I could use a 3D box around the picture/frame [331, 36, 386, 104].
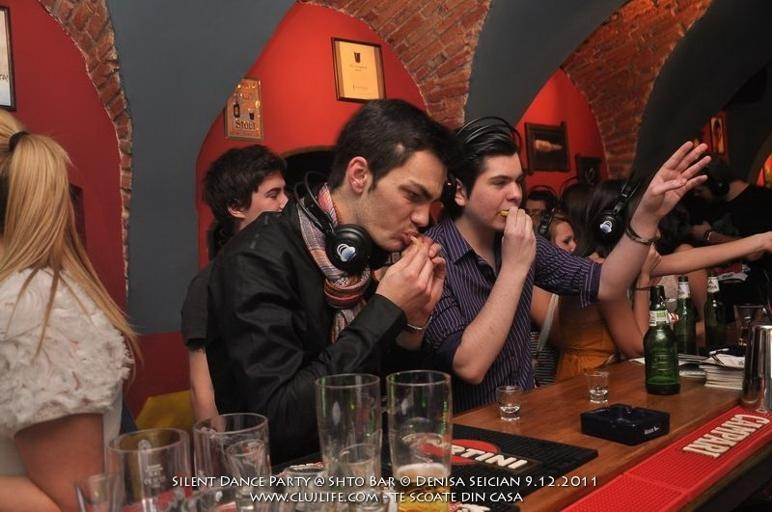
[{"bbox_3d":[-0.209,-1.554,4.726,0.497,0.507,0.155,-6,14,-32],"label":"picture/frame"}]

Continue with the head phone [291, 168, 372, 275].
[{"bbox_3d":[-0.201,-0.105,2.124,0.331,0.324,0.223,4,12,8],"label":"head phone"}]

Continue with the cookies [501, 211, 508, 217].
[{"bbox_3d":[0.545,-0.192,2.559,0.032,0.009,0.024,-4,-14,45],"label":"cookies"}]

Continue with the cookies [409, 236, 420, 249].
[{"bbox_3d":[0.112,-0.055,2.135,0.037,0.037,0.013,3,-6,-20],"label":"cookies"}]

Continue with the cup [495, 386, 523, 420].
[{"bbox_3d":[0.457,0.546,2.127,0.105,0.122,0.106,-3,3,0],"label":"cup"}]

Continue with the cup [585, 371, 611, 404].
[{"bbox_3d":[0.854,0.523,2.230,0.098,0.119,0.115,-2,-3,-4],"label":"cup"}]

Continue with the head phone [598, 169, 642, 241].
[{"bbox_3d":[1.280,-0.277,3.084,0.146,0.390,0.417,30,11,15],"label":"head phone"}]

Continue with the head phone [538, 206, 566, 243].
[{"bbox_3d":[1.005,-0.183,3.366,0.084,0.201,0.229,13,9,27],"label":"head phone"}]
